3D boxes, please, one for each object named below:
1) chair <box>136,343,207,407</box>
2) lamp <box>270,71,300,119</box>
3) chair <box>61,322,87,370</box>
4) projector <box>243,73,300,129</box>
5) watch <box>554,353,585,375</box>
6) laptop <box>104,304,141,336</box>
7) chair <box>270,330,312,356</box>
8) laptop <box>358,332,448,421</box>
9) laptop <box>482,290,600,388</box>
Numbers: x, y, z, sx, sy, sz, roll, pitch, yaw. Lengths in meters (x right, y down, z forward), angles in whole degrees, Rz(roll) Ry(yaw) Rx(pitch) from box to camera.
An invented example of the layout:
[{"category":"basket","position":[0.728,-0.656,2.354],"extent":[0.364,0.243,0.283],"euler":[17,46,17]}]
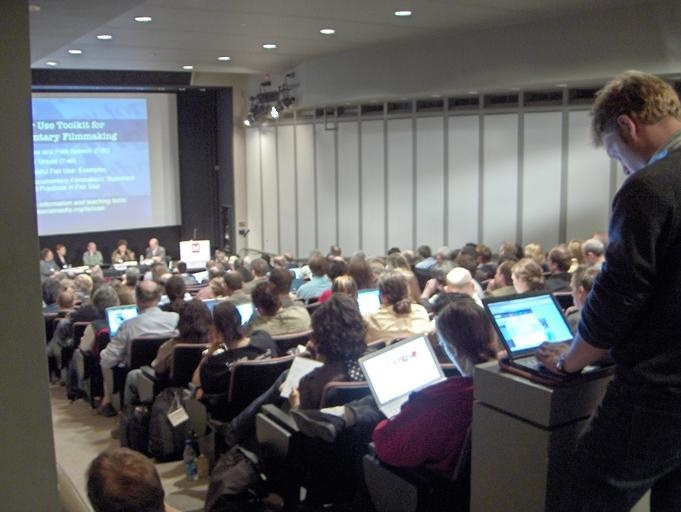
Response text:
[{"category":"chair","position":[-1.276,0.925,3.925],"extent":[0.362,0.531,0.422],"euler":[-5,21,-37]},{"category":"lamp","position":[-1.287,-3.624,11.825],"extent":[0.403,0.524,1.386],"euler":[-2,14,-20]},{"category":"chair","position":[-2.804,0.993,5.545],"extent":[0.310,0.497,0.347],"euler":[7,-8,-26]},{"category":"projector","position":[-1.754,-3.658,12.327],"extent":[1.455,0.837,0.437],"euler":[1,12,44]},{"category":"watch","position":[0.747,0.344,1.668],"extent":[0.100,0.037,0.076],"euler":[-14,19,45]},{"category":"laptop","position":[-2.114,0.573,5.055],"extent":[0.362,0.358,0.251],"euler":[-3,-9,-29]},{"category":"chair","position":[-0.376,0.638,3.977],"extent":[0.192,0.249,0.215],"euler":[-9,20,-26]},{"category":"laptop","position":[0.294,0.563,2.603],"extent":[0.406,0.255,0.360],"euler":[-22,9,-23]},{"category":"laptop","position":[0.821,0.283,1.963],"extent":[0.498,0.258,0.514],"euler":[-4,3,40]}]
